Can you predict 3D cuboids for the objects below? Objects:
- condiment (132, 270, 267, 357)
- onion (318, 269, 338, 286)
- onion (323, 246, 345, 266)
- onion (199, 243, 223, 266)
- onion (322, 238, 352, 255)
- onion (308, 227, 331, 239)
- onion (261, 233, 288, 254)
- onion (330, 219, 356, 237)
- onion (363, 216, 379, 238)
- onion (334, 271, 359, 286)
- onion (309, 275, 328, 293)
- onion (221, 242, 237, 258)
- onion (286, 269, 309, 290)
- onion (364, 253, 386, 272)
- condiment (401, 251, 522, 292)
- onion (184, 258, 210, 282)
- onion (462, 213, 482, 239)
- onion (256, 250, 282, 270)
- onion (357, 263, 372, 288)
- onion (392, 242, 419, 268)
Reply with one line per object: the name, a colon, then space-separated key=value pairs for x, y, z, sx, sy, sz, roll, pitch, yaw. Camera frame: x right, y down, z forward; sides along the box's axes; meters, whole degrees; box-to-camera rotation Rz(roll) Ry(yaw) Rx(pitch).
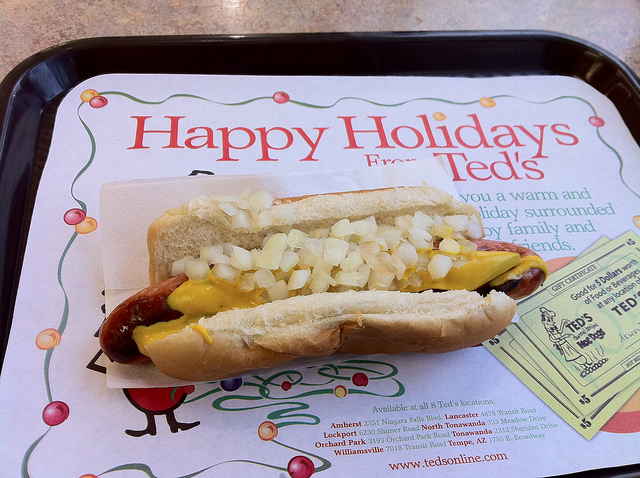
condiment: x=-0.523 y=0.316 z=2.551 sx=0.594 sy=0.187 sz=0.269 roll=-13 pitch=71 yaw=1
onion: x=0.030 y=0.158 z=2.455 sx=0.092 sy=0.047 sz=0.031 roll=36 pitch=68 yaw=14
onion: x=0.060 y=0.062 z=2.454 sx=0.083 sy=0.022 sz=0.083 roll=20 pitch=64 yaw=7
onion: x=-0.467 y=0.050 z=2.529 sx=0.090 sy=0.026 sz=0.080 roll=-6 pitch=64 yaw=-7
onion: x=0.071 y=0.018 z=2.479 sx=0.084 sy=0.020 sz=0.075 roll=4 pitch=48 yaw=4
onion: x=0.000 y=-0.027 z=2.560 sx=0.068 sy=0.021 sz=0.045 roll=-30 pitch=71 yaw=1
onion: x=-0.183 y=0.016 z=2.477 sx=0.074 sy=0.025 sz=0.093 roll=14 pitch=68 yaw=15
onion: x=0.095 y=-0.046 z=2.514 sx=0.078 sy=0.028 sz=0.077 roll=36 pitch=77 yaw=23
onion: x=0.232 y=-0.053 z=2.549 sx=0.068 sy=0.025 sz=0.081 roll=4 pitch=64 yaw=-9
onion: x=0.114 y=0.166 z=2.460 sx=0.105 sy=0.041 sz=0.053 roll=8 pitch=64 yaw=1
onion: x=-0.003 y=0.190 z=2.463 sx=0.054 sy=0.027 sz=0.079 roll=37 pitch=84 yaw=15
onion: x=-0.405 y=0.046 z=2.531 sx=0.051 sy=0.018 sz=0.058 roll=0 pitch=77 yaw=0
onion: x=-0.098 y=0.169 z=2.439 sx=0.066 sy=0.027 sz=0.089 roll=27 pitch=76 yaw=15
onion: x=0.231 y=0.100 z=2.461 sx=0.054 sy=0.017 sz=0.083 roll=-39 pitch=86 yaw=-28
condiment: x=0.563 y=0.134 z=2.602 sx=0.575 sy=0.184 sz=0.175 roll=-7 pitch=85 yaw=1
onion: x=-0.521 y=0.130 z=2.461 sx=0.104 sy=0.061 sz=0.089 roll=1 pitch=53 yaw=-5
onion: x=0.697 y=-0.050 z=2.670 sx=0.078 sy=0.030 sz=0.125 roll=18 pitch=55 yaw=-9
onion: x=-0.211 y=0.085 z=2.445 sx=0.088 sy=0.022 sz=0.075 roll=9 pitch=75 yaw=9
onion: x=0.187 y=0.155 z=2.465 sx=0.060 sy=0.022 sz=0.094 roll=26 pitch=79 yaw=-24
onion: x=0.367 y=0.064 z=2.484 sx=0.083 sy=0.047 sz=0.109 roll=-36 pitch=70 yaw=-18
